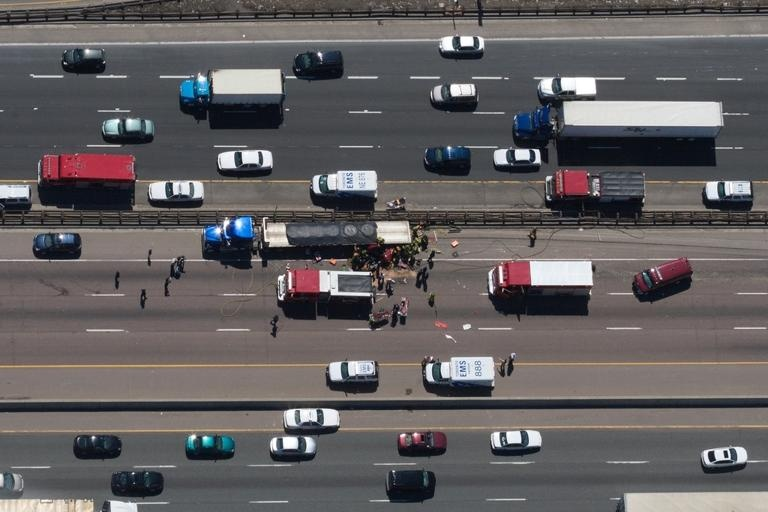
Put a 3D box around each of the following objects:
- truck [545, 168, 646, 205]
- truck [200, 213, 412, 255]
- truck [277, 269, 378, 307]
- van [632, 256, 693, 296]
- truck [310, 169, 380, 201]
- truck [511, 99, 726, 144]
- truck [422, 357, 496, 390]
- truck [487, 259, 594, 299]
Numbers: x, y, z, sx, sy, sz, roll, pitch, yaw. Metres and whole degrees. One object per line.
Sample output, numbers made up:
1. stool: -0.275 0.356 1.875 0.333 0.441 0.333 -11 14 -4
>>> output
1. truck: 29.062 -8.473 364.898 12.815 5.198 2.737 -1 30 0
2. truck: -10.538 -1.983 362.020 26.769 5.247 2.397 -2 30 -1
3. truck: -7.299 5.412 360.515 14.904 4.589 4.925 -1 2 -5
4. van: 37.993 3.614 364.035 8.009 3.236 2.998 -20 77 -12
5. truck: -4.793 -8.873 363.766 12.793 4.207 4.350 0 0 0
6. truck: 32.245 -17.938 367.275 27.069 5.701 4.321 -1 68 -4
7. truck: 10.853 16.828 360.969 9.331 3.459 3.749 -2 -5 -3
8. truck: 21.966 4.228 362.554 13.489 3.933 4.836 -2 58 2
